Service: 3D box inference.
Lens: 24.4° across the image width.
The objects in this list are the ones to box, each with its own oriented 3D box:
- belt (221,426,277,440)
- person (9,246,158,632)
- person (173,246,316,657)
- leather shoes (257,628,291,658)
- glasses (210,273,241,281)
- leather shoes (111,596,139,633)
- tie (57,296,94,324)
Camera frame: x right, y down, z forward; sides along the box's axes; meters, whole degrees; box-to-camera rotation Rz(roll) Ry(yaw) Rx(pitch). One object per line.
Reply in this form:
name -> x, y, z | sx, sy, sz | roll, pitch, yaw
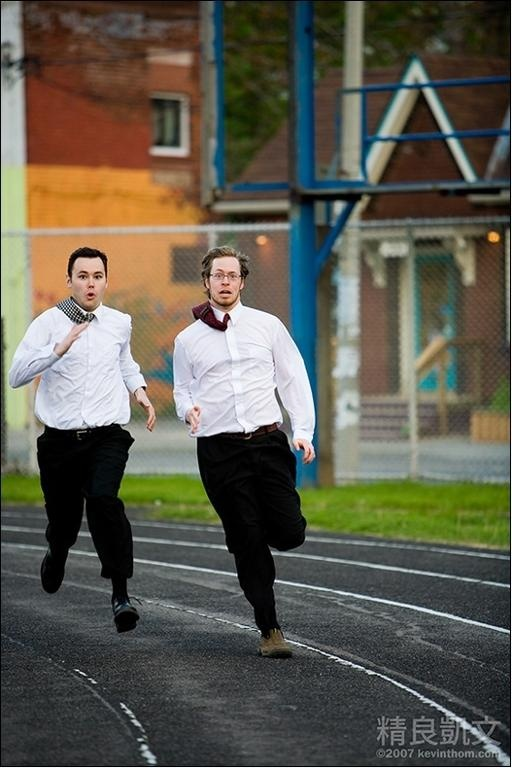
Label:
belt -> -0.016, 0.221, 5.432 | 0.276, 0.065, 0.092 | 0, 1, -26
person -> -0.829, 0.195, 5.650 | 0.562, 1.673, 0.561 | 0, 0, 6
person -> -0.056, 0.312, 5.445 | 0.651, 1.871, 0.371 | 0, 0, -3
leather shoes -> 0.092, 1.192, 5.413 | 0.073, 0.095, 0.205 | -2, -1, -5
glasses -> -0.142, -0.483, 5.386 | 0.124, 0.028, 0.052 | 0, 1, -1
leather shoes -> -0.601, 1.069, 5.424 | 0.087, 0.102, 0.224 | -16, -28, -13
tie -> -0.873, -0.353, 5.676 | 0.150, 0.048, 0.119 | 38, 52, 15
